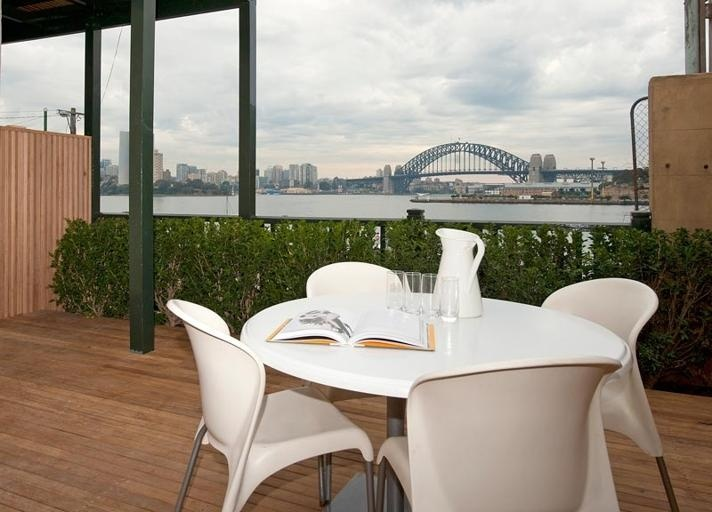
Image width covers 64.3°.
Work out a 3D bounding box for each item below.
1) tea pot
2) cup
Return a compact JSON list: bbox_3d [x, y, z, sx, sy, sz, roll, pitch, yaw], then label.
[{"bbox_3d":[0.560,0.092,3.034,0.244,0.480,0.320,0,4,11],"label":"tea pot"},{"bbox_3d":[0.351,0.199,2.984,0.276,0.294,0.294,6,5,-1],"label":"cup"}]
